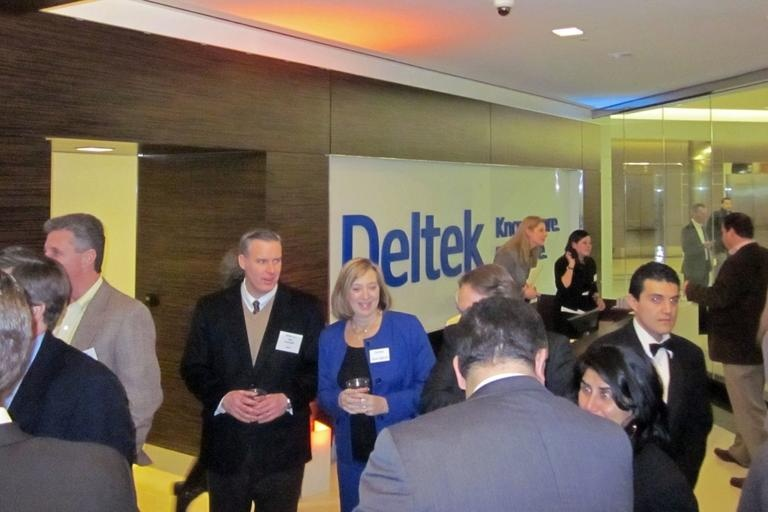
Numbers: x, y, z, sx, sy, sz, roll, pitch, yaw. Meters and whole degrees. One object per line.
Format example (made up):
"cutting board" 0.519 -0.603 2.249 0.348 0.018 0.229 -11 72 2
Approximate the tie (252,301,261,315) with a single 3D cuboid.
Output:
"tie" -0.869 0.351 3.638 0.047 0.075 0.018 1 -6 -1

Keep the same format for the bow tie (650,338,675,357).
"bow tie" 1.664 0.552 3.187 0.108 0.083 0.026 -5 -6 7

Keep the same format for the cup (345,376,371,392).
"cup" -0.151 0.765 3.239 0.132 0.087 0.128 0 -2 0

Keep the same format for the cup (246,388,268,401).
"cup" -0.757 0.829 3.213 0.104 0.066 0.072 1 4 15

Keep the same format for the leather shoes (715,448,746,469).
"leather shoes" 3.496 2.029 5.396 0.199 0.067 0.203 8 27 -50
